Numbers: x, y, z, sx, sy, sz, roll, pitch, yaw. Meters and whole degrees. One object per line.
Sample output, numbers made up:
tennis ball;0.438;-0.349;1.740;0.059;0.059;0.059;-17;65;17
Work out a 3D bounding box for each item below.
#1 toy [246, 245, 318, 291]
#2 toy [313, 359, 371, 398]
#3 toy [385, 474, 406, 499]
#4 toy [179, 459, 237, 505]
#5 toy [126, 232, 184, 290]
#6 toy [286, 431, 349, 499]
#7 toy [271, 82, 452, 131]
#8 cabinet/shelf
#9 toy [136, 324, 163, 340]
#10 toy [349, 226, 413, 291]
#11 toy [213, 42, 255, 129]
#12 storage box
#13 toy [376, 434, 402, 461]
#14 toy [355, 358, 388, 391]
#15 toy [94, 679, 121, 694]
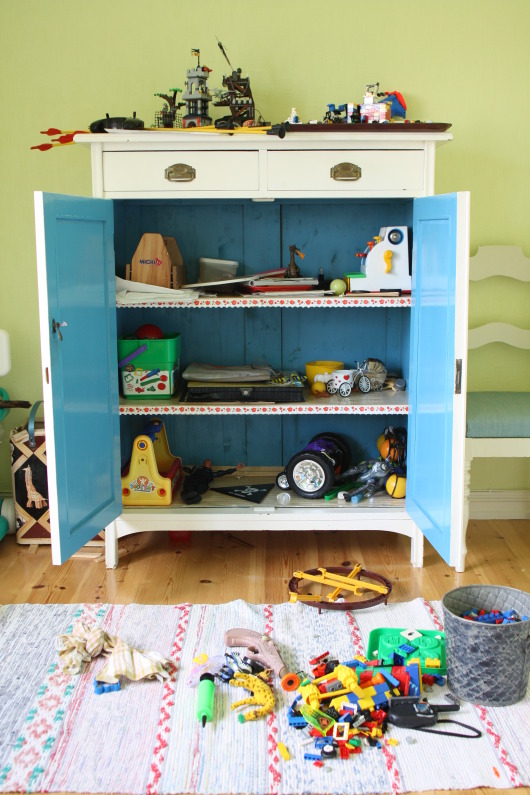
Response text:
toy;0.058;-0.511;2.684;0.304;0.214;0.271;-1;17;-8
toy;0.317;-0.078;2.695;0.201;0.128;0.115;-5;8;-13
toy;0.525;0.353;2.612;0.062;0.075;0.065;-12;33;-25
toy;-0.235;0.345;2.727;0.213;0.119;0.197;-2;14;-8
toy;-0.408;-0.509;2.524;0.206;0.217;0.327;1;12;0
toy;0.221;0.271;2.662;0.237;0.150;0.239;41;39;1
toy;0.366;-1.145;2.556;0.720;0.186;0.399;-2;18;-12
cabinet/shelf;0.028;-0.148;2.463;1.419;1.606;1.124;-1;7;-3
toy;-0.474;-0.263;2.663;0.085;0.080;0.085;1;5;1
toy;0.451;-0.522;2.532;0.210;0.251;0.215;-7;18;-39
toy;-0.116;-1.105;2.439;0.147;0.304;0.387;-1;7;-3
storage box;-0.455;-0.120;2.554;0.238;0.231;0.240;0;8;2
toy;0.511;0.209;2.733;0.080;0.100;0.104;2;-21;-4
toy;0.448;-0.087;2.758;0.120;0.101;0.146;-6;20;11
toy;-0.410;0.757;1.706;0.033;0.015;0.042;2;3;-1
